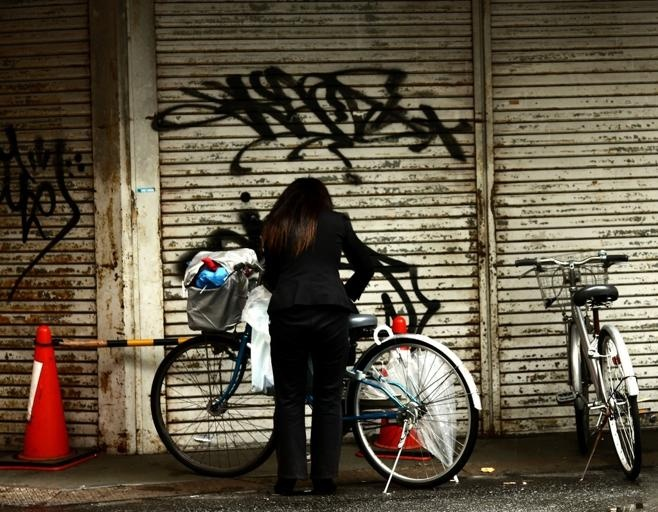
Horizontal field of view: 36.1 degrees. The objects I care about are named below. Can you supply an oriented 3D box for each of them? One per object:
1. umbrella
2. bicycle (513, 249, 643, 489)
[{"bbox_3d":[0.789,1.238,8.636,0.870,1.357,0.617,-1,-2,24],"label":"umbrella"},{"bbox_3d":[2.258,0.925,8.978,0.898,1.950,1.343,0,-2,1],"label":"bicycle"}]
